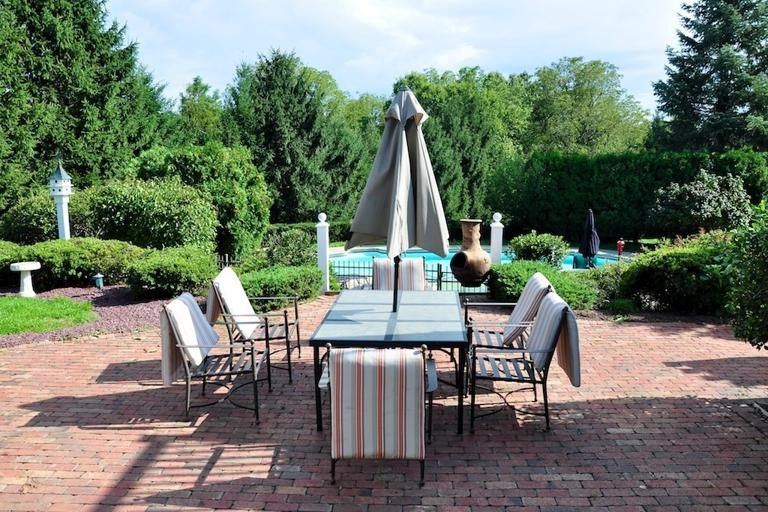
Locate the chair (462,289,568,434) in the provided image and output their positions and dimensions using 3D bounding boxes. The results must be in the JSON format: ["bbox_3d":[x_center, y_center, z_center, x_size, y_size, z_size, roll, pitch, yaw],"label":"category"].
[{"bbox_3d":[2.135,1.598,10.000,1.488,2.058,1.821,-1,4,8],"label":"chair"}]

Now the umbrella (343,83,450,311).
[{"bbox_3d":[0.235,-0.921,9.795,1.486,3.624,0.763,-1,4,5],"label":"umbrella"}]

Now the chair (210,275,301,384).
[{"bbox_3d":[-2.396,1.016,11.124,1.784,2.246,1.872,-1,10,-2],"label":"chair"}]

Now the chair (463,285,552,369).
[{"bbox_3d":[2.067,1.282,10.494,1.406,1.663,1.367,-1,9,15],"label":"chair"}]

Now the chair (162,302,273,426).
[{"bbox_3d":[-2.736,1.616,10.192,1.584,1.619,2.117,1,2,-9],"label":"chair"}]

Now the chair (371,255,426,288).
[{"bbox_3d":[0.293,0.542,12.568,1.050,0.927,0.595,0,-4,3],"label":"chair"}]
